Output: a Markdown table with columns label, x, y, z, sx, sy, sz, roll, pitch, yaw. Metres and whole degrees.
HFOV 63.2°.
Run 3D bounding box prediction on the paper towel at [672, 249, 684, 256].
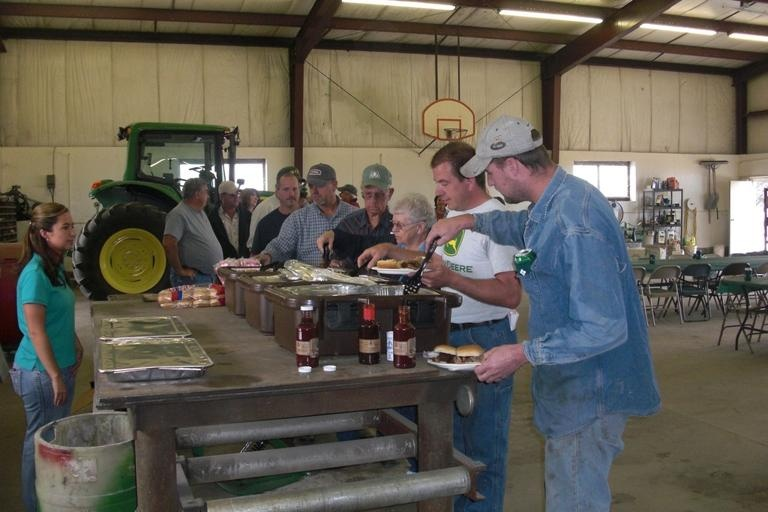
| label | x | y | z | sx | sy | sz | roll | pitch | yaw |
| --- | --- | --- | --- | --- | --- | --- | --- | --- | --- |
| paper towel | 5.677 | -0.055 | 12.042 | 0.222 | 0.055 | 0.238 | -3 | 7 | 1 |

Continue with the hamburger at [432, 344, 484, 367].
| label | x | y | z | sx | sy | sz | roll | pitch | yaw |
| --- | --- | --- | --- | --- | --- | --- | --- | --- | --- |
| hamburger | 0.363 | 0.500 | 3.108 | 0.163 | 0.058 | 0.132 | -7 | -6 | 16 |

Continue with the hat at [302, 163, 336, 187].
| label | x | y | z | sx | sy | sz | roll | pitch | yaw |
| --- | --- | --- | --- | --- | --- | --- | --- | --- | --- |
| hat | -0.532 | -0.672 | 5.128 | 0.229 | 0.132 | 0.160 | -4 | 8 | -44 |

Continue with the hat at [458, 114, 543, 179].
| label | x | y | z | sx | sy | sz | roll | pitch | yaw |
| --- | --- | --- | --- | --- | --- | --- | --- | --- | --- |
| hat | 0.573 | -0.548 | 3.126 | 0.377 | 0.209 | 0.252 | -12 | 16 | 9 |

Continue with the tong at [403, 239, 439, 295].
| label | x | y | z | sx | sy | sz | roll | pitch | yaw |
| --- | --- | --- | --- | --- | --- | --- | --- | --- | --- |
| tong | 0.210 | 0.074 | 3.540 | 0.053 | 0.354 | 0.066 | 41 | -24 | -23 |

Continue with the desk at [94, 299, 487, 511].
| label | x | y | z | sx | sy | sz | roll | pitch | yaw |
| --- | --- | --- | --- | --- | --- | --- | --- | --- | --- |
| desk | -0.654 | 0.824 | 3.472 | 1.881 | 0.775 | 1.481 | 2 | 8 | -16 |

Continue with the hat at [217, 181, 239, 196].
| label | x | y | z | sx | sy | sz | roll | pitch | yaw |
| --- | --- | --- | --- | --- | --- | --- | --- | --- | --- |
| hat | -1.846 | -0.792 | 7.346 | 0.181 | 0.096 | 0.136 | -7 | 9 | 17 |

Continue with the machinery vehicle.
| label | x | y | z | sx | sy | sz | roll | pitch | yaw |
| --- | --- | --- | --- | --- | --- | --- | --- | --- | --- |
| machinery vehicle | -2.722 | -0.663 | 8.456 | 2.916 | 2.331 | 1.816 | -5 | 13 | -23 |

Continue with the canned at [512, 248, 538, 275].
| label | x | y | z | sx | sy | sz | roll | pitch | yaw |
| --- | --- | --- | --- | --- | --- | --- | --- | --- | --- |
| canned | 0.680 | 0.032 | 3.017 | 0.123 | 0.125 | 0.093 | 0 | 3 | 5 |
